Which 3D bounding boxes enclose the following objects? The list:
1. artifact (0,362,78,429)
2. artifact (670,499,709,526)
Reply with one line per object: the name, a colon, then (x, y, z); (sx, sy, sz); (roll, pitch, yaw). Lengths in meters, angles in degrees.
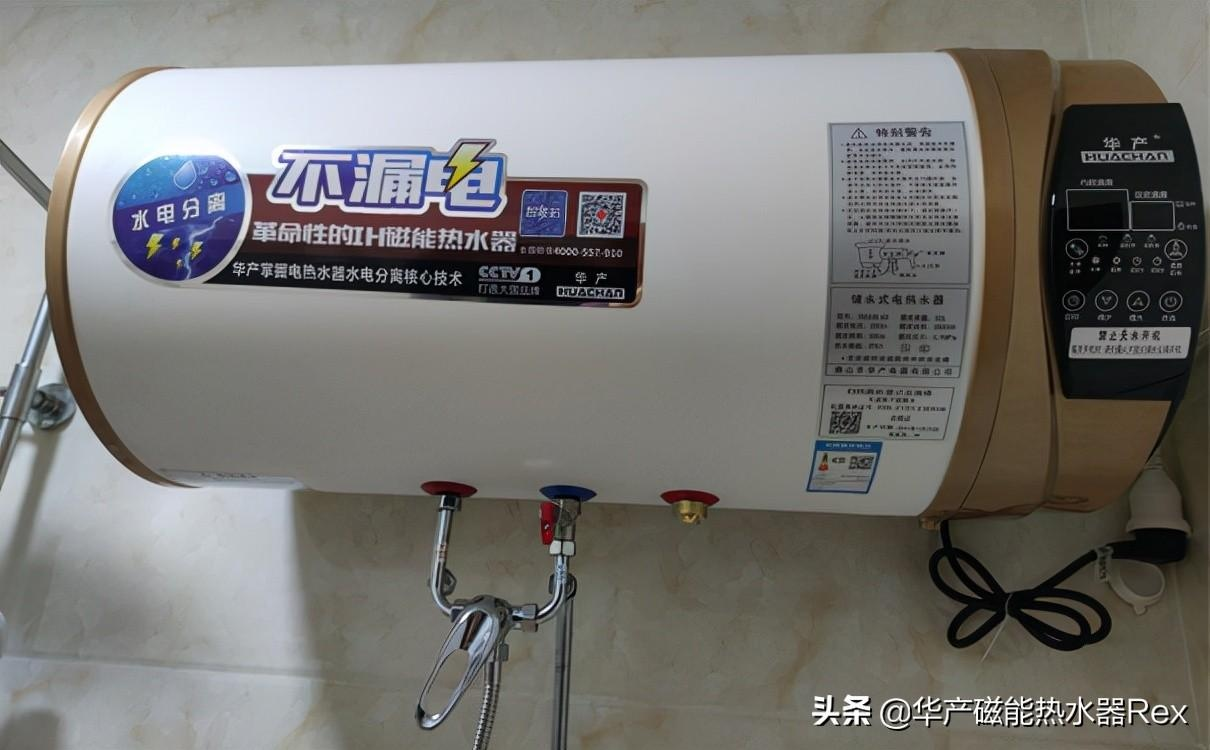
artifact: (-1.101, 0.055, 1.900); (0.129, 0.137, 0.119); (-2, 77, -9)
artifact: (0.154, 0.253, 1.688); (0.056, 0.055, 0.036); (11, 69, -23)
